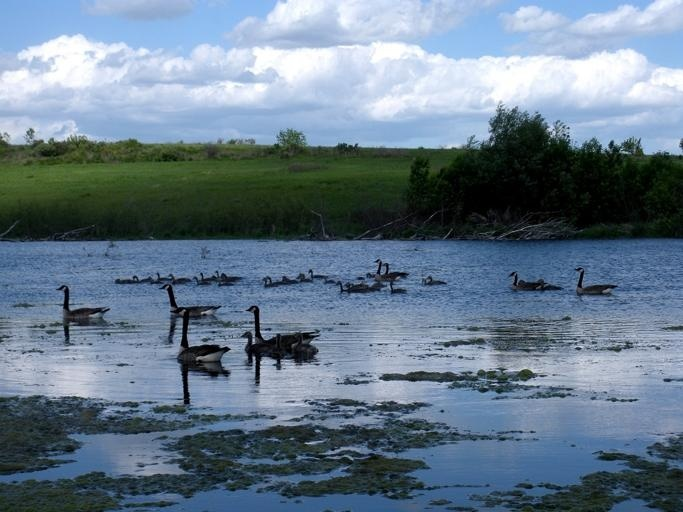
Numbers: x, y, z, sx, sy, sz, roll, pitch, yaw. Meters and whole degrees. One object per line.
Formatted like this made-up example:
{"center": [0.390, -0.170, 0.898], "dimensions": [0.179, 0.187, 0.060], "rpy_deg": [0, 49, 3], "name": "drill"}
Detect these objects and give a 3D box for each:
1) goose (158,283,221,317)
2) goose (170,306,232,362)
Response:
{"center": [-6.518, 2.041, 47.903], "dimensions": [2.493, 1.494, 2.340], "rpy_deg": [-2, 6, -28], "name": "goose"}
{"center": [-4.331, 2.643, 37.318], "dimensions": [2.001, 1.544, 1.900], "rpy_deg": [0, 6, -33], "name": "goose"}
